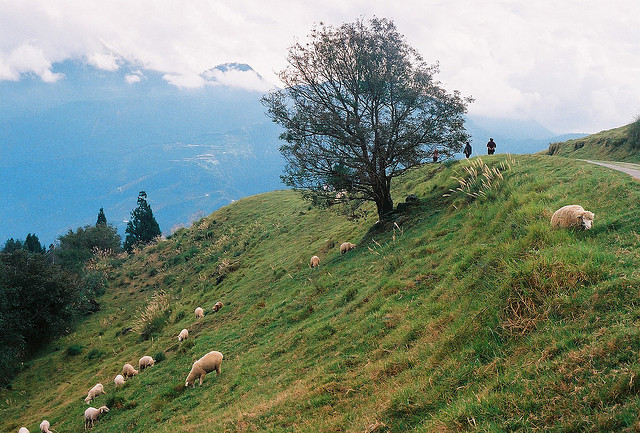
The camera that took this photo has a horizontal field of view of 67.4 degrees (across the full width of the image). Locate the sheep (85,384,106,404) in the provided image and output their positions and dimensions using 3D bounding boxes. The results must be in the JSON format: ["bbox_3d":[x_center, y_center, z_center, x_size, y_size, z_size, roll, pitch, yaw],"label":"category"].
[{"bbox_3d":[-14.173,11.104,30.145,1.173,1.238,0.838,-18,6,-42],"label":"sheep"}]

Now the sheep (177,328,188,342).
[{"bbox_3d":[-9.888,8.537,34.519,0.692,0.838,1.224,-16,4,-17],"label":"sheep"}]

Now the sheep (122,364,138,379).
[{"bbox_3d":[-12.671,10.229,31.802,1.145,1.002,0.481,-13,4,14],"label":"sheep"}]

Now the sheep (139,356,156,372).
[{"bbox_3d":[-11.804,9.873,32.255,1.131,1.035,0.530,-14,4,2],"label":"sheep"}]

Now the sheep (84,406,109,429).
[{"bbox_3d":[-12.790,11.343,27.229,1.454,1.356,0.596,-14,4,10],"label":"sheep"}]

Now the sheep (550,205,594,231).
[{"bbox_3d":[11.474,0.041,22.034,1.880,1.205,0.979,-1,1,23],"label":"sheep"}]

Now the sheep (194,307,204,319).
[{"bbox_3d":[-9.621,7.614,37.958,0.666,0.861,1.351,-16,4,-17],"label":"sheep"}]

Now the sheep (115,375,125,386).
[{"bbox_3d":[-12.976,10.550,30.900,0.541,0.649,0.978,-17,5,-29],"label":"sheep"}]

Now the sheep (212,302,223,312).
[{"bbox_3d":[-8.084,7.161,37.987,0.908,0.676,0.780,-17,5,-30],"label":"sheep"}]

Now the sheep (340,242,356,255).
[{"bbox_3d":[2.063,2.450,36.266,1.345,0.725,1.584,-14,4,1],"label":"sheep"}]
